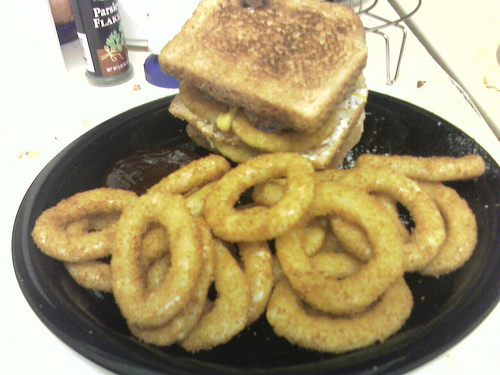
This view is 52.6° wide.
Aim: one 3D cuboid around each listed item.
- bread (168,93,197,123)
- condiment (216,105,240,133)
[{"bbox_3d":[-0.309,-0.347,2.313,0.124,0.031,0.126,39,70,20],"label":"bread"},{"bbox_3d":[-0.091,-0.311,2.186,0.128,0.056,0.073,-23,65,-45],"label":"condiment"}]
